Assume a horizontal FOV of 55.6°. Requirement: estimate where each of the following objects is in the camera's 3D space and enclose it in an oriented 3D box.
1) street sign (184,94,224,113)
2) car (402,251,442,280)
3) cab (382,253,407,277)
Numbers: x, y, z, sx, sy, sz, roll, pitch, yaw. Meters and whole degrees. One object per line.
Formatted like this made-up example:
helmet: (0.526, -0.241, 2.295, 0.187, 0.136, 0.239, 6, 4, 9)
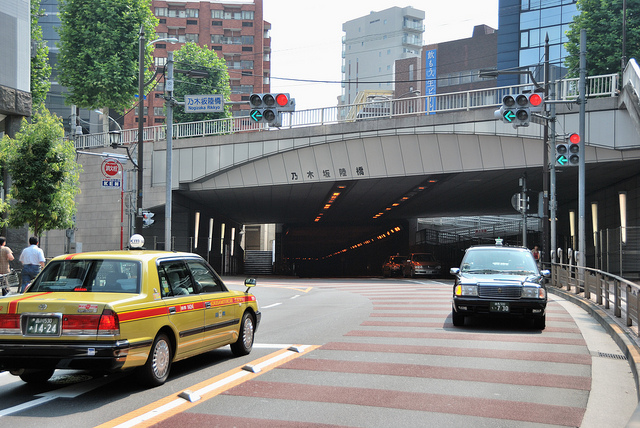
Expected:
street sign: (-4.626, -4.454, 24.383, 1.696, 0.656, 0.836, -2, 0, 25)
car: (7.179, 3.685, 44.023, 1.423, 1.060, 3.115, 0, -8, -10)
cab: (6.414, 4.342, 51.588, 1.936, 1.499, 4.506, 0, -11, -8)
